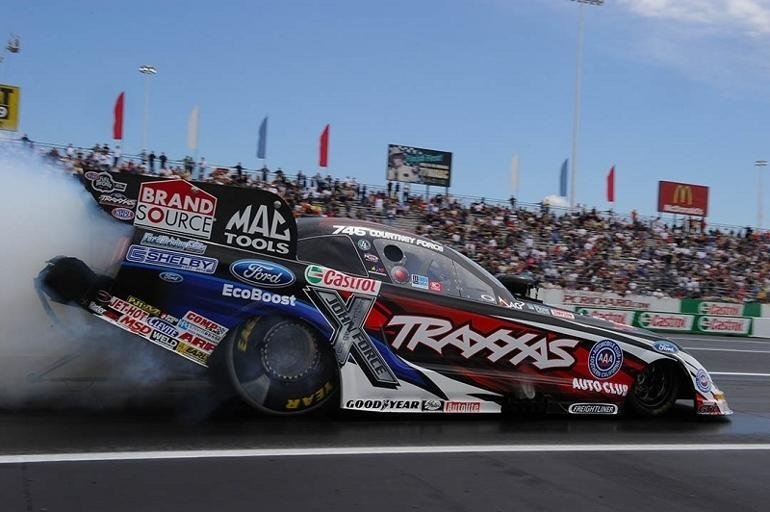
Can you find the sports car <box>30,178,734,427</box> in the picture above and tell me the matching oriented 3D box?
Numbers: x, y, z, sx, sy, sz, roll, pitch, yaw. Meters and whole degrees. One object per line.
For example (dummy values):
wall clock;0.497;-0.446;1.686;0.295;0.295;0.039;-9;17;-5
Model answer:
sports car;-0.389;0.623;8.625;5.312;1.276;2.697;6;-2;-15
